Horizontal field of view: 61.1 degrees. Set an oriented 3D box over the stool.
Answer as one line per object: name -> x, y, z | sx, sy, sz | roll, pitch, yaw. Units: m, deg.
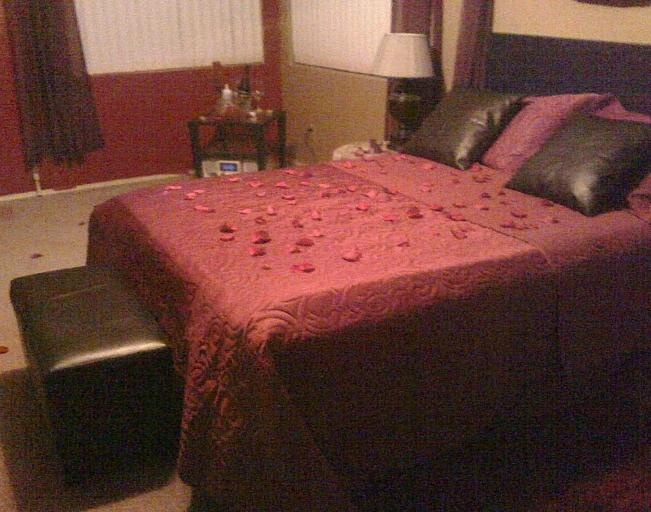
stool -> -0.843, 0.480, 2.130 | 0.466, 0.477, 0.620 | -15, 33, -27
